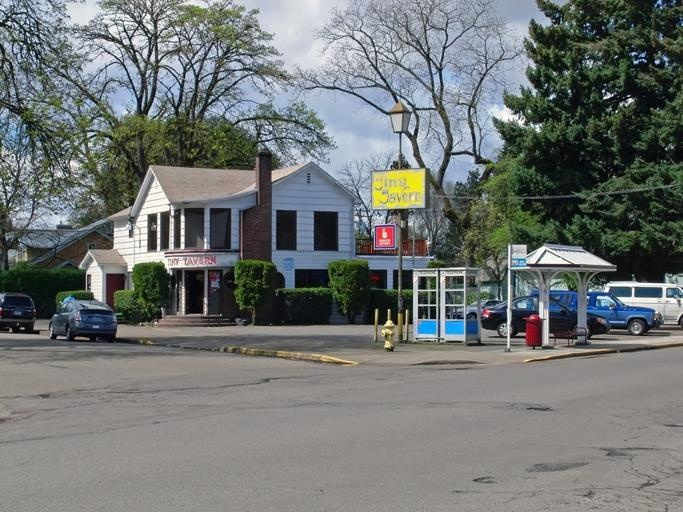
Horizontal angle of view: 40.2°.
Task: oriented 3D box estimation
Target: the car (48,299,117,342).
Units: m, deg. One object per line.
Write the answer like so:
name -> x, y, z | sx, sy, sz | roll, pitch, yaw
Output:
car -> -10.527, 2.550, 37.820 | 1.477, 1.214, 3.094 | 1, 1, -27
